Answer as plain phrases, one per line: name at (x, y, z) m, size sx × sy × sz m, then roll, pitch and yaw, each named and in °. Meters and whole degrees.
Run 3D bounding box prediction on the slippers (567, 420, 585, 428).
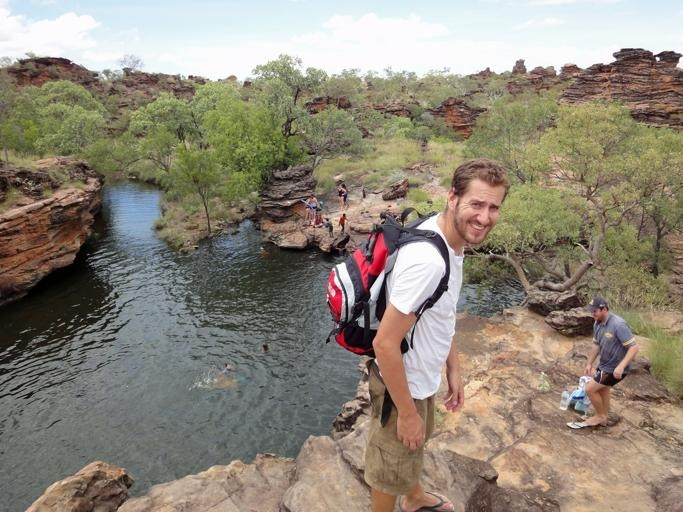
slippers at (6.241, 4.502, 11.696) m, size 0.342 × 0.087 × 0.175 m, roll -5°, pitch 42°, yaw 20°
